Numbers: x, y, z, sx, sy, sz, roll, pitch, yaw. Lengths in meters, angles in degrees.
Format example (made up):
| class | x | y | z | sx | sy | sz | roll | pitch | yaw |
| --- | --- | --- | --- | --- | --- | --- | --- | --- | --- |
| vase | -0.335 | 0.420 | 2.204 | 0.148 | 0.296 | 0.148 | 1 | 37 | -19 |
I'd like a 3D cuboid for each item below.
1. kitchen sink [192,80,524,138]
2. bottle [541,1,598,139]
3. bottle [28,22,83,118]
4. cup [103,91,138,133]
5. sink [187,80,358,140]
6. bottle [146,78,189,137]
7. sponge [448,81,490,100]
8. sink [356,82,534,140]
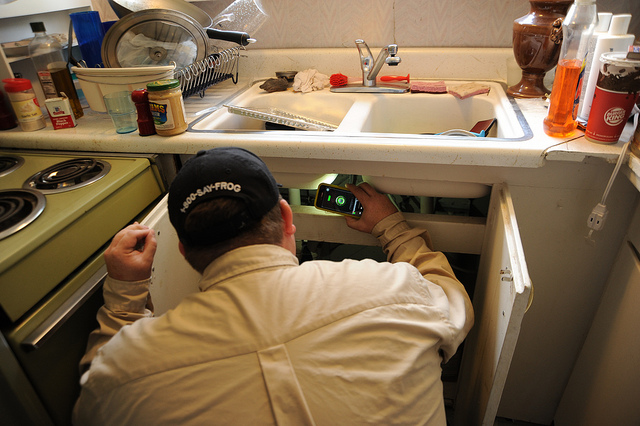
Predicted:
| class | x | y | z | sx | sy | sz | roll | pitch | yaw |
| --- | --- | --- | --- | --- | --- | --- | --- | --- | --- |
| kitchen sink | 0.183 | -0.434 | 1.861 | 1.265 | 0.222 | 0.650 | 2 | 29 | 9 |
| bottle | 0.872 | -0.498 | 1.436 | 0.115 | 0.412 | 0.237 | 12 | 33 | 25 |
| bottle | -1.156 | -0.612 | 1.791 | 0.126 | 0.372 | 0.364 | -20 | 33 | -27 |
| cup | -0.801 | -0.410 | 1.674 | 0.103 | 0.142 | 0.117 | -11 | 30 | -14 |
| sink | -0.177 | -0.428 | 1.868 | 0.638 | 0.192 | 0.725 | 4 | 29 | 11 |
| bottle | -0.599 | -0.415 | 1.618 | 0.135 | 0.191 | 0.138 | -1 | 30 | 1 |
| sponge | 0.692 | -0.559 | 1.900 | 0.193 | 0.048 | 0.109 | -12 | 30 | -16 |
| sink | 0.511 | -0.393 | 1.785 | 0.627 | 0.198 | 0.644 | 3 | 29 | 11 |
